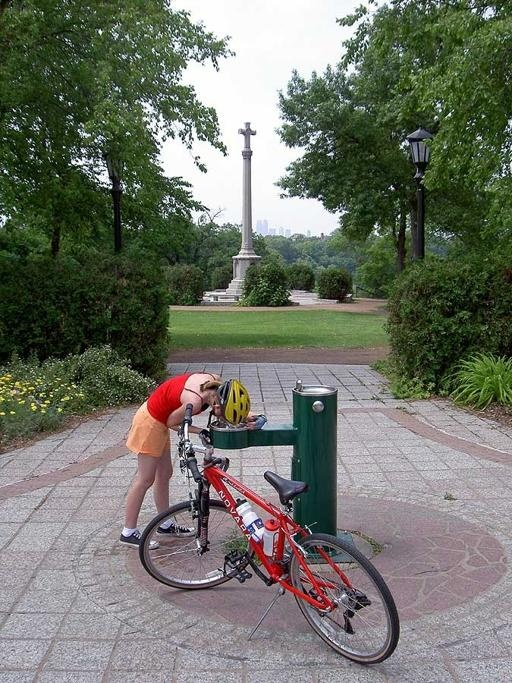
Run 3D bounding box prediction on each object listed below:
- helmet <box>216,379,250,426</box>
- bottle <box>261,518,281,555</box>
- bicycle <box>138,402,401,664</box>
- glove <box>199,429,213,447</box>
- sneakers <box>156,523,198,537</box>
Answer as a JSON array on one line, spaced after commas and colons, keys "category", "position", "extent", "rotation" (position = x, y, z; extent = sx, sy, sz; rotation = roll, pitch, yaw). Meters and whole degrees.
[{"category": "helmet", "position": [-0.166, 0.290, 3.224], "extent": [0.212, 0.165, 0.160], "rotation": [10, -6, 2]}, {"category": "bottle", "position": [0.068, 0.962, 2.960], "extent": [0.088, 0.197, 0.037], "rotation": [2, 7, 28]}, {"category": "bicycle", "position": [0.057, 1.002, 3.105], "extent": [1.479, 0.938, 0.466], "rotation": [6, 20, 41]}, {"category": "glove", "position": [-0.277, 0.544, 3.391], "extent": [0.027, 0.065, 0.087], "rotation": [-33, 37, 16]}, {"category": "sneakers", "position": [-0.507, 1.210, 3.907], "extent": [0.265, 0.103, 0.114], "rotation": [0, 2, -6]}]
